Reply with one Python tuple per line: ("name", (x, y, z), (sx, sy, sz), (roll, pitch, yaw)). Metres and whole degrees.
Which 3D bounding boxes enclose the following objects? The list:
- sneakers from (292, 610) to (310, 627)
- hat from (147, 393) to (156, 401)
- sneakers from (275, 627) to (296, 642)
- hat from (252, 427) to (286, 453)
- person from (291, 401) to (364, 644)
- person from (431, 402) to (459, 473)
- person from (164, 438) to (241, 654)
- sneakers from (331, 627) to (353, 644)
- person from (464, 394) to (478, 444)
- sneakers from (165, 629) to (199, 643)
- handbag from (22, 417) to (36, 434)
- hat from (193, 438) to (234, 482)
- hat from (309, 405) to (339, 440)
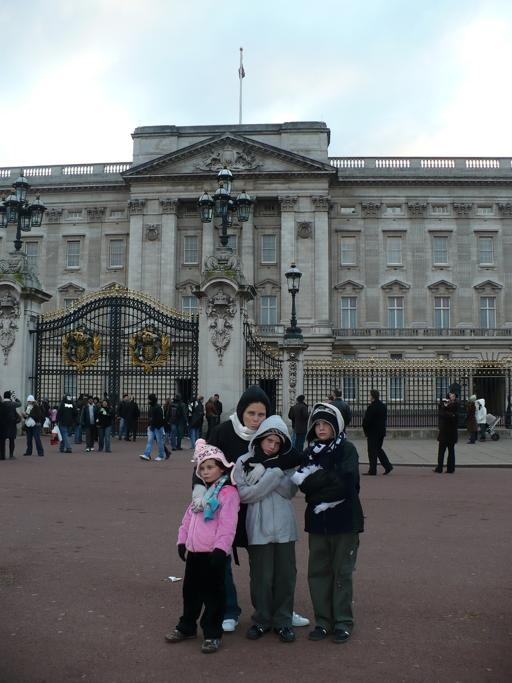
("sneakers", (0.301, 1.877, 5.129), (0.067, 0.080, 0.191), (0, -3, 19))
("hat", (-2.468, 1.311, 17.774), (0.156, 0.228, 0.216), (-4, -16, 4))
("sneakers", (0.197, 1.828, 4.745), (0.052, 0.068, 0.161), (2, -3, -10))
("hat", (0.089, 0.652, 4.947), (0.202, 0.184, 0.162), (5, -5, -9))
("person", (0.469, 1.163, 4.945), (0.436, 1.454, 0.460), (0, 0, 8))
("person", (3.779, 1.824, 15.065), (0.456, 1.413, 0.870), (0, 0, 13))
("person", (-0.307, 1.264, 4.703), (0.469, 1.267, 0.368), (0, 0, 36))
("sneakers", (0.540, 1.851, 4.811), (0.134, 0.090, 0.212), (0, 0, 6))
("person", (6.390, 2.297, 22.386), (0.270, 1.258, 0.902), (0, 0, 16))
("sneakers", (-0.471, 1.843, 4.780), (0.205, 0.095, 0.072), (15, -11, -22))
("handbag", (-5.224, 1.888, 17.351), (0.226, 0.321, 0.134), (0, 0, 3))
("hat", (-0.297, 0.713, 4.835), (0.240, 0.276, 0.233), (-15, 4, 6))
("hat", (0.463, 0.517, 5.073), (0.175, 0.223, 0.223), (1, 14, 11))
